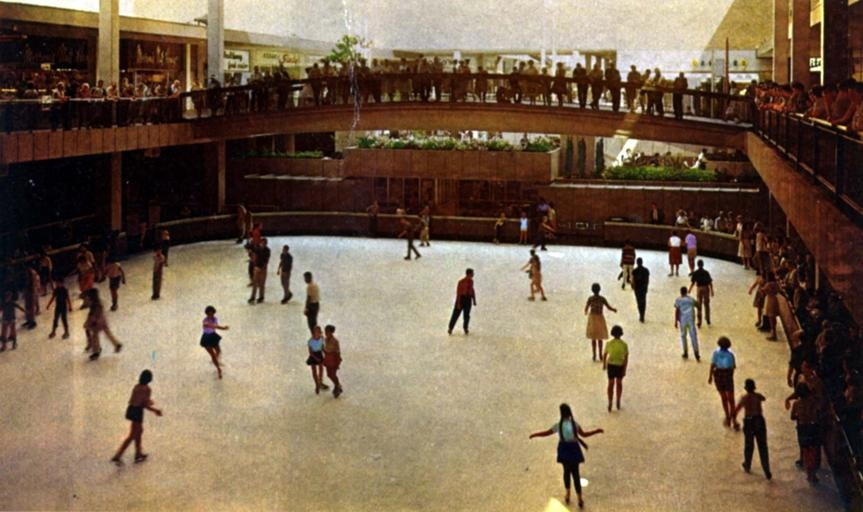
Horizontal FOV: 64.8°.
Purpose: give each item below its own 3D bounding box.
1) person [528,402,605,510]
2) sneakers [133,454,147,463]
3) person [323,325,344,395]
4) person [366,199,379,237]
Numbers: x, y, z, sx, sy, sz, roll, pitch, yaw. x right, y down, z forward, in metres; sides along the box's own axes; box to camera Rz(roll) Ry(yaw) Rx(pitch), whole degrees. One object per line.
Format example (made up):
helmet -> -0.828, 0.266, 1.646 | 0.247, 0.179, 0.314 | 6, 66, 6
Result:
person -> 2.951, 4.275, 14.774 | 0.945, 2.206, 0.935 | 6, 14, 23
sneakers -> -6.833, 4.776, 15.985 | 0.132, 0.163, 0.355 | 3, 10, 11
person -> -2.721, 2.765, 18.801 | 0.466, 2.014, 1.191 | -1, 13, -8
person -> -3.354, -2.086, 38.872 | 0.574, 1.891, 1.145 | -2, 13, -11
